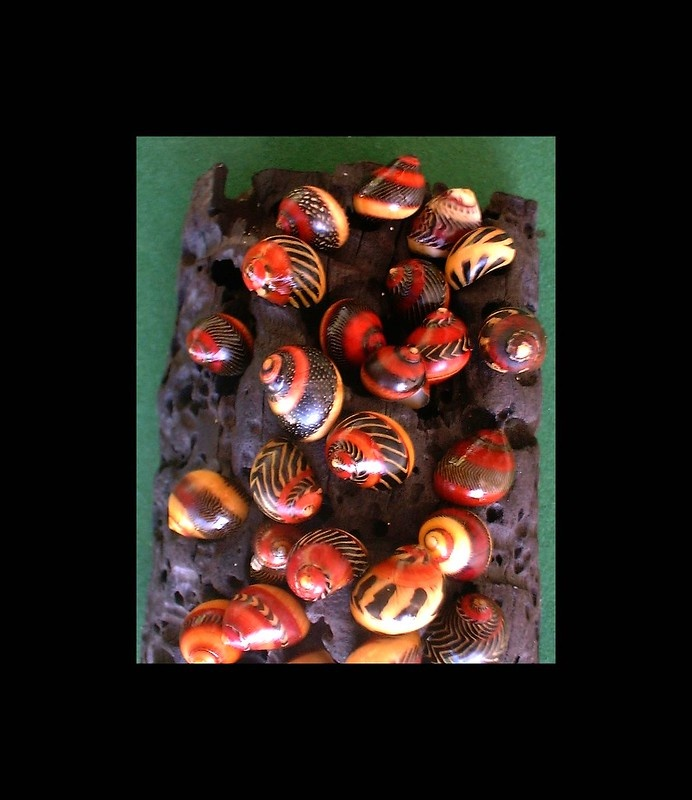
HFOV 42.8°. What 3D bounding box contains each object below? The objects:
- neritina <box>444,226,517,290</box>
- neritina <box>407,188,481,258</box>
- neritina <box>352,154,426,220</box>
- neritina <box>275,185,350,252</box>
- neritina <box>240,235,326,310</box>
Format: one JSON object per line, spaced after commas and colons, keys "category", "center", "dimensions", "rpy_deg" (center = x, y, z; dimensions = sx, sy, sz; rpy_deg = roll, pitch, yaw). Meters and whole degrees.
{"category": "neritina", "center": [0.399, -0.435, 2.671], "dimensions": [0.156, 0.221, 0.066], "rpy_deg": [47, 7, 1]}
{"category": "neritina", "center": [0.305, -0.537, 2.748], "dimensions": [0.173, 0.239, 0.151], "rpy_deg": [50, 16, -3]}
{"category": "neritina", "center": [0.151, -0.621, 2.726], "dimensions": [0.190, 0.201, 0.100], "rpy_deg": [35, -1, 17]}
{"category": "neritina", "center": [-0.102, -0.543, 2.706], "dimensions": [0.241, 0.157, 0.165], "rpy_deg": [3, -11, -8]}
{"category": "neritina", "center": [-0.178, -0.386, 2.644], "dimensions": [0.243, 0.213, 0.175], "rpy_deg": [5, 3, -1]}
